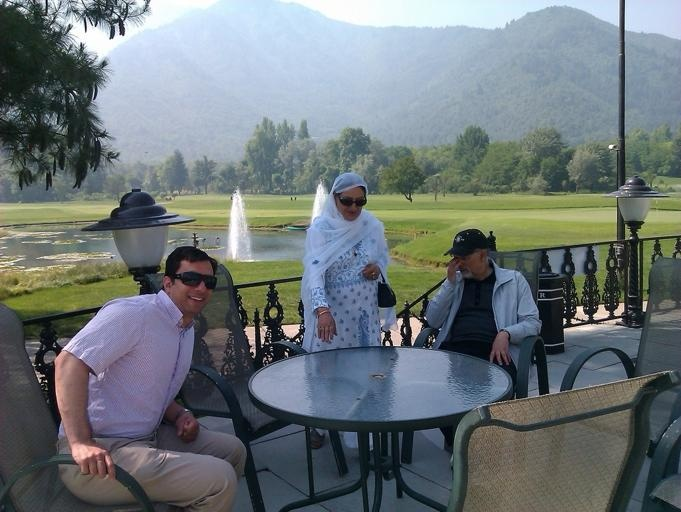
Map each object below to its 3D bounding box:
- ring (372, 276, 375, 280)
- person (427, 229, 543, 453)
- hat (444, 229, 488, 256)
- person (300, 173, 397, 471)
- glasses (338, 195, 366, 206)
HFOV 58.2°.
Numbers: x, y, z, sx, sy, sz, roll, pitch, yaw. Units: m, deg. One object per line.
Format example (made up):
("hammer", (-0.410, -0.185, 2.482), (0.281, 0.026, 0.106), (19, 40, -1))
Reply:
("ring", (0.233, 0.148, 4.239), (0.022, 0.019, 0.024), (0, 1, 0))
("person", (1.015, 0.618, 4.390), (0.717, 1.587, 0.771), (6, -4, 7))
("hat", (0.892, -0.089, 4.327), (0.268, 0.171, 0.197), (-5, 6, -19))
("person", (0.095, 0.263, 4.403), (0.668, 1.649, 0.601), (-12, 33, -12))
("glasses", (0.117, -0.391, 4.278), (0.136, 0.083, 0.255), (1, 5, 43))
